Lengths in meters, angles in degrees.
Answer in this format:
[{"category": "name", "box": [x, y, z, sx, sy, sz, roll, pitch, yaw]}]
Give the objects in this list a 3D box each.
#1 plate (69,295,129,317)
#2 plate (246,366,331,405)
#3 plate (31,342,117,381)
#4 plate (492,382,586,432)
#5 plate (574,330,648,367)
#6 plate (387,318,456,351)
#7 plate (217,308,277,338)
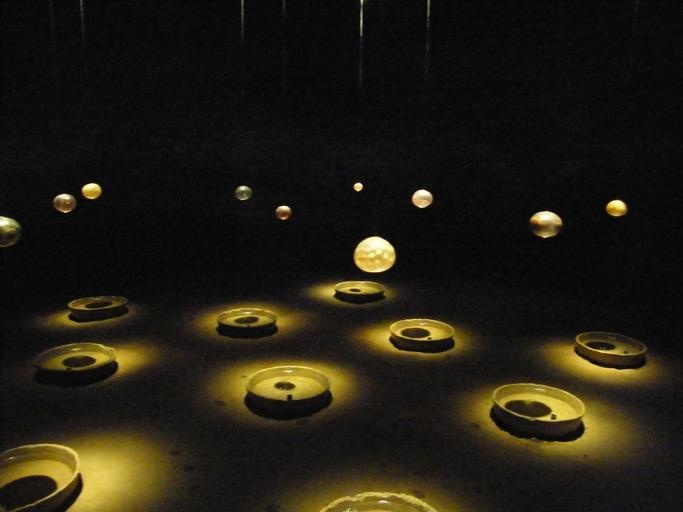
[{"category": "plate", "box": [-3.775, 0.784, 9.524, 0.542, 0.096, 0.453, 2, 13, 1]}, {"category": "plate", "box": [-0.660, 1.564, 7.295, 0.871, 0.703, 0.095, 4, 44, -13]}, {"category": "plate", "box": [-3.316, 1.367, 7.798, 0.887, 0.150, 0.834, -5, 18, -34]}, {"category": "plate", "box": [2.246, 1.735, 6.931, 0.987, 0.154, 0.843, 3, 18, 1]}, {"category": "plate", "box": [3.671, 1.283, 8.380, 0.958, 0.312, 0.748, 4, 9, 21]}, {"category": "plate", "box": [1.159, 1.122, 8.772, 0.626, 0.154, 0.539, -3, 14, -9]}, {"category": "plate", "box": [-1.404, 0.996, 9.115, 0.905, 0.264, 0.790, 0, 9, -9]}]
